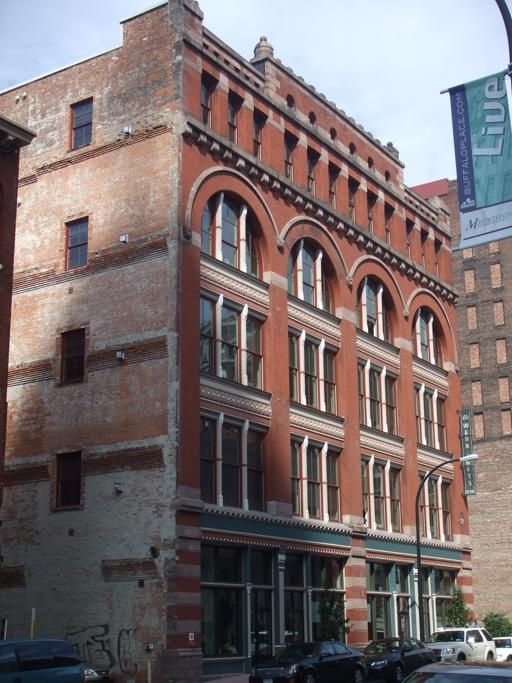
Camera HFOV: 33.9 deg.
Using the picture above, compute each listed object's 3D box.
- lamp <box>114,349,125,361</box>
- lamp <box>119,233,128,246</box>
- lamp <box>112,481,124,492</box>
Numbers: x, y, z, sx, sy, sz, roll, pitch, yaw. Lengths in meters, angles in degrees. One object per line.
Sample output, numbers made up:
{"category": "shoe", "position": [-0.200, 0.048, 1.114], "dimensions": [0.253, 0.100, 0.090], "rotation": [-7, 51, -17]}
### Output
{"category": "lamp", "position": [-4.570, 0.482, 28.208], "dimensions": [0.264, 0.371, 0.434], "rotation": [10, -23, -30]}
{"category": "lamp", "position": [-4.621, -3.555, 29.414], "dimensions": [0.365, 0.437, 0.214], "rotation": [-13, -23, 38]}
{"category": "lamp", "position": [-4.441, 4.659, 26.973], "dimensions": [0.397, 0.404, 0.286], "rotation": [-8, -15, 32]}
